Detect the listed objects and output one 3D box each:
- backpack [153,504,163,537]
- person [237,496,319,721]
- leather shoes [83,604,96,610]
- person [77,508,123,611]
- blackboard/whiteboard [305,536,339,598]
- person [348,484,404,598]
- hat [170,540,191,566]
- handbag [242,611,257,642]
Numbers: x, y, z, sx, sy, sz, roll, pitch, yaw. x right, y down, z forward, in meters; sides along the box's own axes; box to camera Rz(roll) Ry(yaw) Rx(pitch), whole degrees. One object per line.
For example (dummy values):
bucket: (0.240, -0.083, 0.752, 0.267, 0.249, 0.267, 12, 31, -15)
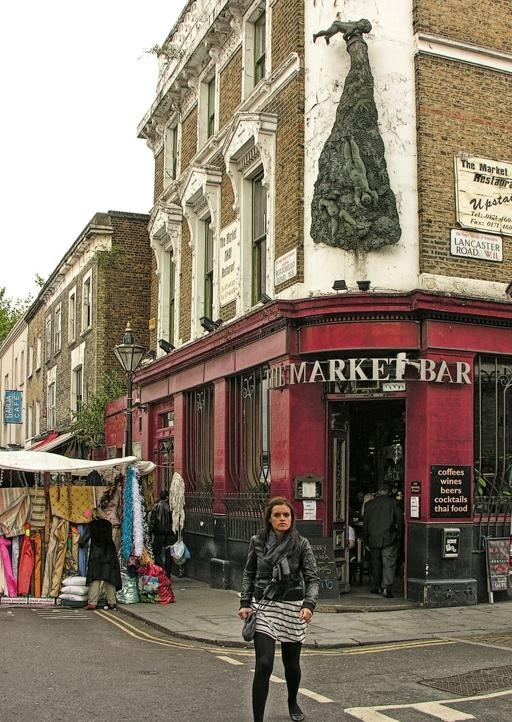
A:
backpack: (-1.652, 2.659, 19.212, 0.119, 0.388, 0.268, -2, -6, 10)
person: (0.187, 1.891, 8.777, 0.586, 1.675, 0.649, 1, -11, 0)
leather shoes: (-2.320, 3.448, 16.075, 0.150, 0.122, 0.055, 6, -7, 17)
person: (-2.172, 2.801, 16.137, 0.596, 1.371, 0.458, 3, -12, -11)
blackboard/whiteboard: (0.971, 2.915, 16.157, 0.431, 0.839, 0.477, -1, -4, -3)
person: (1.913, 2.581, 16.515, 0.521, 1.654, 0.795, 3, -12, -11)
hat: (-1.223, 3.065, 18.540, 0.280, 0.359, 0.538, 2, -13, -4)
handbag: (-0.033, 2.006, 8.703, 0.095, 0.216, 0.196, 1, -12, -1)
